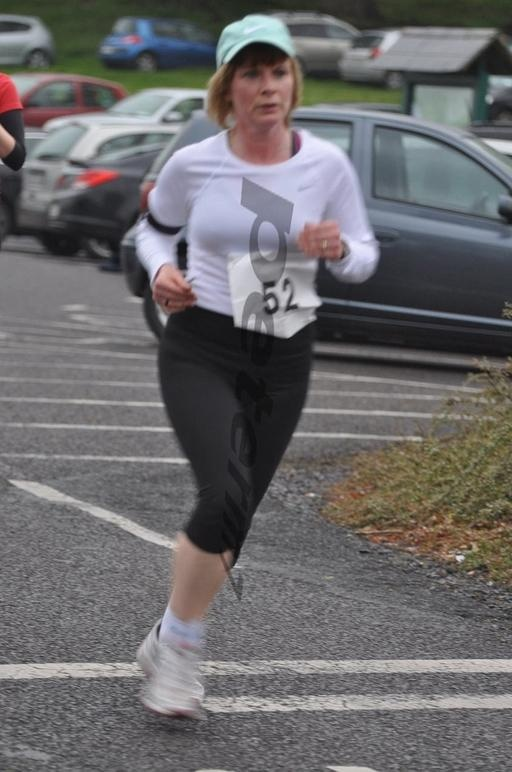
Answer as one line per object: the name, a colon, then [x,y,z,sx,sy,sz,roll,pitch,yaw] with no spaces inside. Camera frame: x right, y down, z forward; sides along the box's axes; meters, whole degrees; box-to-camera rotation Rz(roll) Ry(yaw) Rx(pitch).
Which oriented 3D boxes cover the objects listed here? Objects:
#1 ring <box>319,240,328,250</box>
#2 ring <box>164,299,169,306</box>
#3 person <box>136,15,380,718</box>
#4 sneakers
ring: [0.143,-0.301,1.705,0.015,0.018,0.006,-1,11,-7]
ring: [-0.201,-0.186,1.796,0.010,0.018,0.019,4,8,-10]
person: [-0.062,-0.009,1.989,0.521,1.596,0.452,-1,11,-40]
sneakers: [-0.229,0.671,1.945,0.129,0.109,0.269,14,12,-32]
